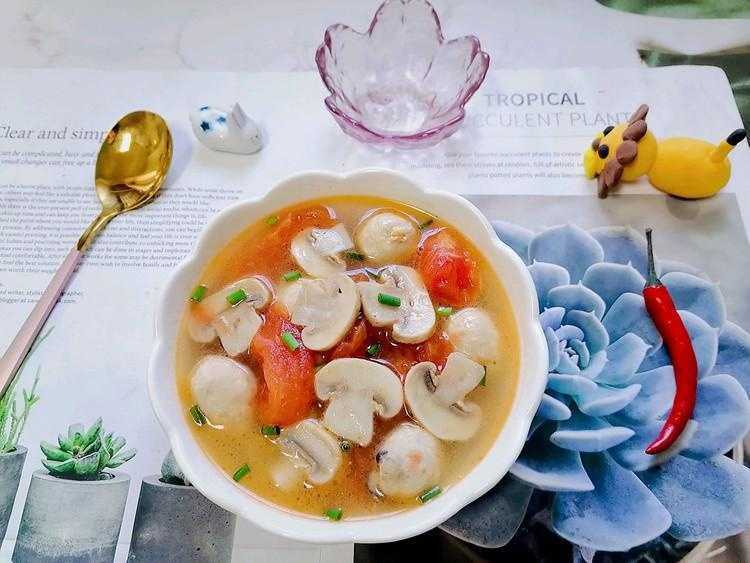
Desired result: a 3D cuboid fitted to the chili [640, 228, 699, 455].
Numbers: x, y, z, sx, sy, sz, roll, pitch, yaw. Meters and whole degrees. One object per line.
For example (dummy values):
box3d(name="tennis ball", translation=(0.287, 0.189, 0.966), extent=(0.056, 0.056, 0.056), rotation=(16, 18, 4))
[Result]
box3d(name="chili", translation=(1.076, 0.264, 2.608), extent=(0.170, 0.130, 0.716), rotation=(-3, 76, 5))

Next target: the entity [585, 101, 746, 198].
box3d(name="entity", translation=(1.112, -0.460, 2.766), extent=(0.536, 0.335, 0.357), rotation=(12, 66, 11))
